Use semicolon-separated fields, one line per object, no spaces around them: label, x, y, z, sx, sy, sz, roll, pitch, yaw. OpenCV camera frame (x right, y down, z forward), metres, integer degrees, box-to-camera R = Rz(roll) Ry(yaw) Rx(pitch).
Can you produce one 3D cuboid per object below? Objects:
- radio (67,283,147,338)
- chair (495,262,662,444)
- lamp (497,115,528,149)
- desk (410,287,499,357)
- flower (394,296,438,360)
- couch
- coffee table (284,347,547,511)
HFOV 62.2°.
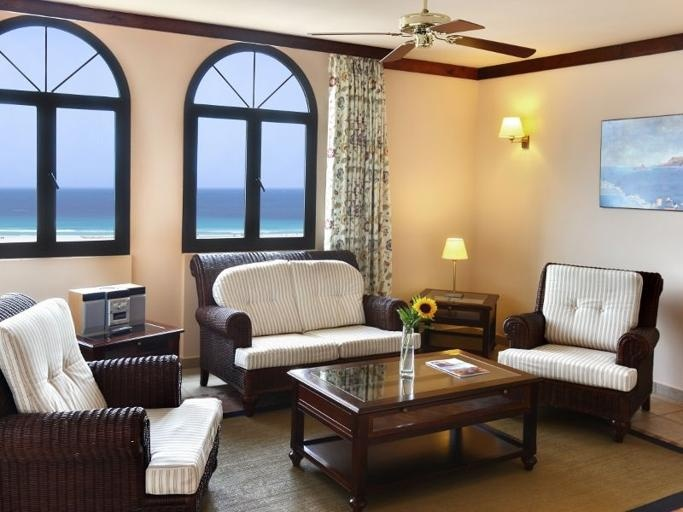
radio;-1.772;0.418;4.342;0.293;0.321;0.538;5;6;32
chair;1.998;0.713;4.707;1.091;1.141;1.036;3;11;29
lamp;1.873;-1.306;6.130;0.324;0.331;0.260;0;7;-5
desk;1.268;0.655;6.049;0.941;0.762;0.761;1;0;38
flower;0.509;0.493;3.880;0.270;0.458;0.214;-3;8;-31
couch;-0.329;0.582;5.149;1.893;1.136;1.093;-2;6;-37
coffee table;0.458;1.085;3.801;1.513;0.625;0.863;-4;12;-24
